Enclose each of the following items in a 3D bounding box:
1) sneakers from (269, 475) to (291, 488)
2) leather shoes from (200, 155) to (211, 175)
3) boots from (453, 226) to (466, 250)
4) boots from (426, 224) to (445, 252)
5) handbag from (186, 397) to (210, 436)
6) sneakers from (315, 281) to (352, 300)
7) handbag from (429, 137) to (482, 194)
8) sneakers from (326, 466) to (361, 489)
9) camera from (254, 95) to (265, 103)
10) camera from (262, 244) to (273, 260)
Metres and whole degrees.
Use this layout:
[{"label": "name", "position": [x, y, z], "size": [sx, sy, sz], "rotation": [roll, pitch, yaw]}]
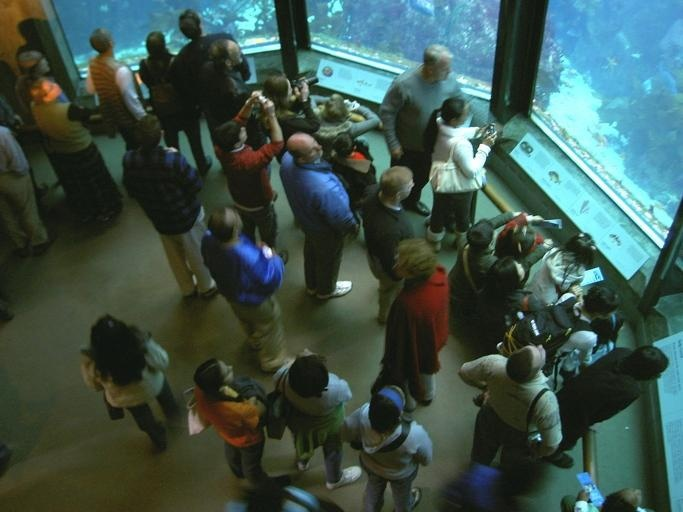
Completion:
[{"label": "sneakers", "position": [-0.465, 1.735, 4.496], "size": [0.181, 0.130, 0.064], "rotation": [-5, 80, -13]}, {"label": "leather shoes", "position": [-1.518, -1.032, 6.572], "size": [0.073, 0.146, 0.210], "rotation": [8, 66, 0]}, {"label": "boots", "position": [1.150, -0.171, 5.591], "size": [0.105, 0.181, 0.133], "rotation": [-11, 41, 9]}, {"label": "boots", "position": [0.892, -0.166, 5.433], "size": [0.132, 0.217, 0.225], "rotation": [-4, 53, 3]}, {"label": "handbag", "position": [-1.029, 1.140, 4.086], "size": [0.117, 0.245, 0.185], "rotation": [-19, 40, -24]}, {"label": "sneakers", "position": [-0.077, 0.332, 5.592], "size": [0.363, 0.167, 0.150], "rotation": [-13, 71, -3]}, {"label": "handbag", "position": [1.031, -0.804, 5.221], "size": [0.513, 0.537, 0.300], "rotation": [3, 14, 44]}, {"label": "sneakers", "position": [0.043, 1.753, 4.647], "size": [0.297, 0.121, 0.129], "rotation": [-21, 52, -12]}, {"label": "camera", "position": [-0.673, -1.304, 4.847], "size": [0.073, 0.025, 0.076], "rotation": [28, 51, 23]}, {"label": "camera", "position": [-0.583, -0.032, 4.600], "size": [0.042, 0.075, 0.099], "rotation": [-26, 91, -4]}]
